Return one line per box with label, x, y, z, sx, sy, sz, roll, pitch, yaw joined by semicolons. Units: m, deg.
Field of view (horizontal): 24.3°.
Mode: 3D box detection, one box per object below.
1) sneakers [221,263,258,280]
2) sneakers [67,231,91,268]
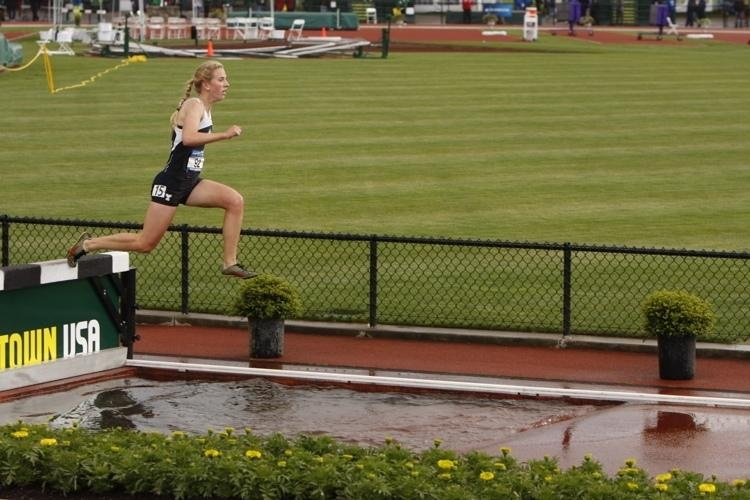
sneakers;-2.344;0.295;30.403;0.691;0.206;0.218;1;2;0
sneakers;-5.026;-0.093;29.898;0.292;0.655;0.224;19;-28;35
